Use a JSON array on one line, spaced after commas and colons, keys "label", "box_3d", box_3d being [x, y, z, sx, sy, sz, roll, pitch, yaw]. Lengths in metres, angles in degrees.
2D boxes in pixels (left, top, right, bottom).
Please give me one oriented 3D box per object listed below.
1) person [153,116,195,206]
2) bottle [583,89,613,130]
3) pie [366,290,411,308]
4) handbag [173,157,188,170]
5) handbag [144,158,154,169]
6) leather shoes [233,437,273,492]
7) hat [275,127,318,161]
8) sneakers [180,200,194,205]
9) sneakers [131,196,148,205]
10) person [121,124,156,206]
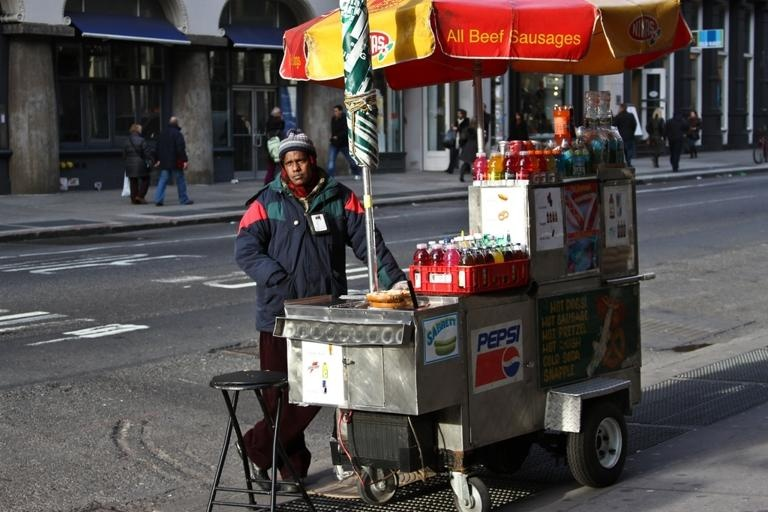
[{"label": "person", "box_3d": [-5.000, -2.217, 26.561, 0.807, 2.066, 1.087, -2, 5, 1]}, {"label": "bottle", "box_3d": [2.082, -1.419, 11.033, 0.299, 0.537, 0.313, 0, -1, 0]}, {"label": "pie", "box_3d": [0.052, 0.377, 9.765, 0.381, 0.142, 0.233, -3, 6, -3]}, {"label": "handbag", "box_3d": [-4.761, -2.131, 26.398, 0.129, 0.362, 0.390, 4, 11, 12]}, {"label": "handbag", "box_3d": [-5.478, -2.162, 26.463, 0.148, 0.240, 0.199, -1, -5, -6]}, {"label": "leather shoes", "box_3d": [-1.176, 1.920, 10.311, 0.160, 0.536, 0.213, -30, 17, -23]}, {"label": "hat", "box_3d": [-0.801, -1.032, 10.385, 0.270, 0.254, 0.293, -4, 4, 11]}, {"label": "sneakers", "box_3d": [-4.657, -1.275, 26.819, 0.308, 0.149, 0.125, -5, 33, 3]}, {"label": "sneakers", "box_3d": [-5.742, -1.306, 26.729, 0.128, 0.148, 0.310, 3, 7, 15]}, {"label": "person", "box_3d": [-5.751, -2.144, 26.568, 0.633, 1.869, 1.035, -3, 5, -12]}]
